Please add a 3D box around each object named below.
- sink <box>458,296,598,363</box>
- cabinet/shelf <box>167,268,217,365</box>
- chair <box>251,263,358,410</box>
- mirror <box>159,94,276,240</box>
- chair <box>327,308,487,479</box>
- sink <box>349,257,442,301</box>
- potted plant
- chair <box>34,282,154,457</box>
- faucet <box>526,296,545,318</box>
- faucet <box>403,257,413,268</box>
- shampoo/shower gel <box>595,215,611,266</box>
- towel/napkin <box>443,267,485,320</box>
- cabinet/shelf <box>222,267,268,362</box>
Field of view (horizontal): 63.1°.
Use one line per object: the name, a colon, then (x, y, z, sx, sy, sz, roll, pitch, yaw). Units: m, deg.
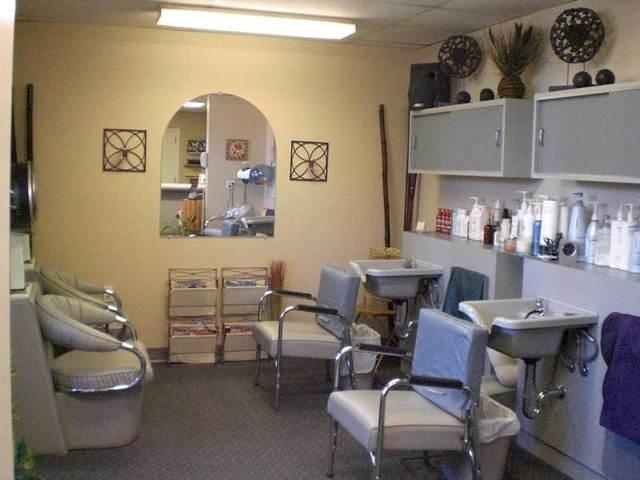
sink: (1.212, 0.510, 3.045, 0.611, 0.243, 0.544, 0, 5, -18)
cabinet/shelf: (-1.129, 0.696, 4.618, 0.464, 0.877, 0.253, 0, 1, -15)
chair: (-0.141, 0.711, 4.053, 0.823, 0.966, 0.879, 4, 3, 11)
mirror: (-0.951, -0.640, 4.770, 1.076, 1.432, 0.024, 1, -15, -9)
chair: (0.485, 0.811, 3.030, 0.843, 1.215, 0.891, 2, -1, -17)
sink: (0.634, 0.330, 4.354, 0.609, 0.286, 0.764, -1, 4, -5)
potted plant: (1.451, -1.289, 3.818, 0.339, 0.502, 0.347, 2, 4, 24)
chair: (-1.508, 0.830, 3.424, 0.718, 0.929, 0.858, 1, 4, -23)
faucet: (1.296, 0.403, 3.144, 0.134, 0.140, 0.108, -4, -1, -7)
faucet: (0.754, 0.195, 4.429, 0.075, 0.081, 0.055, 2, -2, -12)
shampoo/shower gel: (1.664, 0.037, 3.040, 0.086, 0.225, 0.045, 8, 10, 38)
towel/napkin: (1.024, 0.374, 3.634, 0.037, 0.387, 0.317, 7, 5, -21)
cabinet/shelf: (-0.714, 0.700, 4.888, 0.458, 0.829, 0.471, 1, 4, -23)
